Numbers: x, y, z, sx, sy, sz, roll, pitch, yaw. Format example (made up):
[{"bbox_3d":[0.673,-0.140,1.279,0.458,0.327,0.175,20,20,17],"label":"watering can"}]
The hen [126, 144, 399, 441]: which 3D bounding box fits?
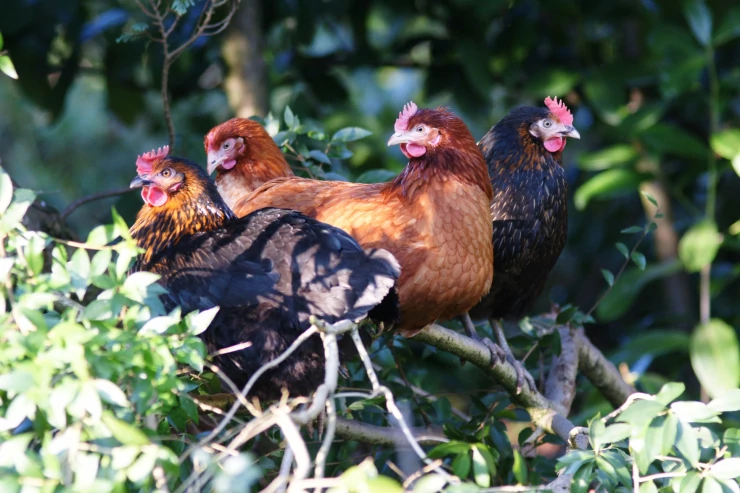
[{"bbox_3d":[-0.528,0.199,4.165,1.282,1.158,0.822,10,3,11],"label":"hen"}]
